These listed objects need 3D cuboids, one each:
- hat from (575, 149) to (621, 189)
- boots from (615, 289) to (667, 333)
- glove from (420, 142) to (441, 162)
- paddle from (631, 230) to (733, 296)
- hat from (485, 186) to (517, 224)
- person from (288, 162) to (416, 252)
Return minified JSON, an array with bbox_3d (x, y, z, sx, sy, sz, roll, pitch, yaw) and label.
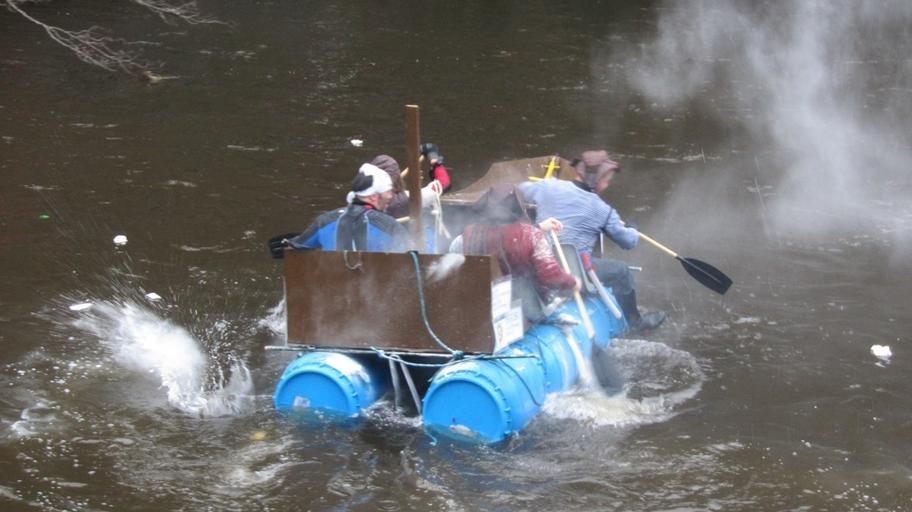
[{"bbox_3d":[2.405,-1.445,23.565,0.662,0.519,0.769,19,-30,-3],"label":"hat"},{"bbox_3d":[3.308,1.021,24.171,0.781,0.668,0.363,-22,29,-3],"label":"boots"},{"bbox_3d":[-0.437,-1.754,23.390,0.301,0.178,0.399,-26,53,-37],"label":"glove"},{"bbox_3d":[4.281,0.197,25.528,2.365,0.363,0.108,30,16,13],"label":"paddle"},{"bbox_3d":[0.776,-0.834,22.415,0.677,0.547,0.540,-4,2,-34],"label":"hat"},{"bbox_3d":[-1.677,-0.770,22.388,1.823,1.347,0.758,0,15,-4],"label":"person"}]
